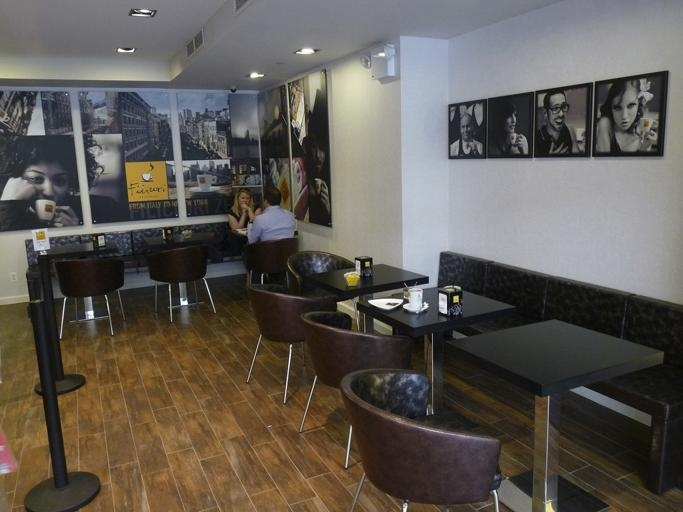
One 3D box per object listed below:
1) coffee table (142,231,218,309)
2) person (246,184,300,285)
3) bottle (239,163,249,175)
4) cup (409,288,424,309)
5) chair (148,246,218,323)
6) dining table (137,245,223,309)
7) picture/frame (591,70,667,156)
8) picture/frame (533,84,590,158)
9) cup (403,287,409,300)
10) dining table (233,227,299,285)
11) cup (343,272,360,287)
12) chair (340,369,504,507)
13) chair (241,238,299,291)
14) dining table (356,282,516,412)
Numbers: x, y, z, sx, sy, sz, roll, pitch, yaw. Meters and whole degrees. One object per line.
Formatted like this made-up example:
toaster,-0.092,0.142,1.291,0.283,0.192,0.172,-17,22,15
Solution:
coffee table,-2.320,0.217,7.014,0.767,1.178,0.725,-8,17,-36
person,-1.050,-0.241,7.126,0.682,1.544,0.749,-10,23,-36
bottle,-1.716,-1.519,8.645,0.158,0.205,0.025,-3,12,-12
cup,0.551,0.313,3.723,0.085,0.149,0.140,-2,5,-20
chair,-2.118,0.275,6.603,0.733,0.985,0.650,-14,20,-41
dining table,-2.189,0.183,6.666,0.884,1.251,0.805,-6,13,-36
picture/frame,2.207,-1.092,3.786,0.051,0.831,0.624,-3,5,-33
picture/frame,1.894,-1.161,4.246,0.027,0.724,0.575,-8,12,-32
cup,0.513,0.301,3.995,0.066,0.074,0.072,1,4,0
dining table,-1.179,0.176,6.841,0.505,0.681,0.572,14,-4,15
cup,0.092,0.205,4.356,0.108,0.088,0.110,-1,8,0
chair,0.414,1.032,2.655,0.601,0.729,0.782,-11,12,-44
chair,-1.015,0.212,6.942,0.657,0.975,0.599,3,9,-17
dining table,0.670,0.729,3.966,0.967,1.063,0.991,-8,13,-30
